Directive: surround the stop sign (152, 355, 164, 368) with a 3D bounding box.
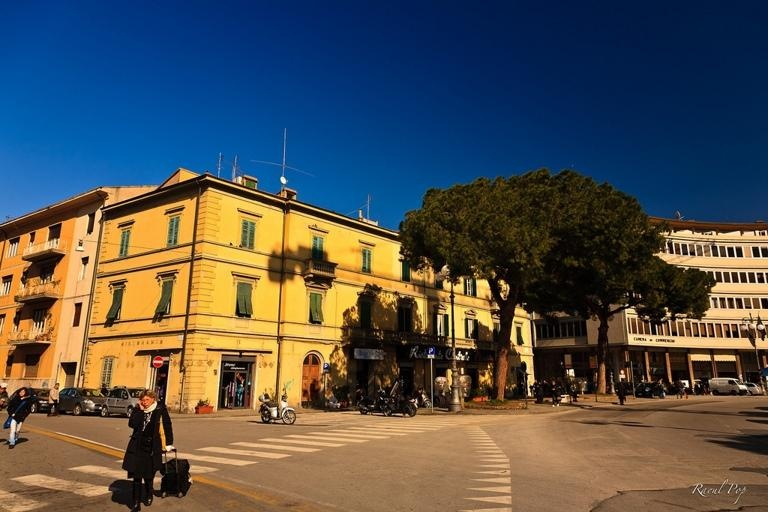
[{"bbox_3d":[-14.480,6.746,29.924,0.123,0.860,0.890,-13,-9,43],"label":"stop sign"}]

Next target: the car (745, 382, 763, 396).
[{"bbox_3d":[41.600,14.743,52.339,2.123,1.036,1.226,1,-6,-35],"label":"car"}]

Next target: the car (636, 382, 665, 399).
[{"bbox_3d":[28.656,14.357,50.375,2.610,1.703,4.300,-10,-20,24],"label":"car"}]

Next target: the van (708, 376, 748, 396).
[{"bbox_3d":[39.185,14.759,53.067,1.817,1.603,3.086,12,-24,-31],"label":"van"}]

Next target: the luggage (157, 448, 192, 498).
[{"bbox_3d":[-4.827,4.853,10.823,0.728,1.051,0.706,0,-6,-32],"label":"luggage"}]

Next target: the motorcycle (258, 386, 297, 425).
[{"bbox_3d":[-5.456,7.673,23.627,1.511,1.537,2.464,6,-19,-21],"label":"motorcycle"}]
